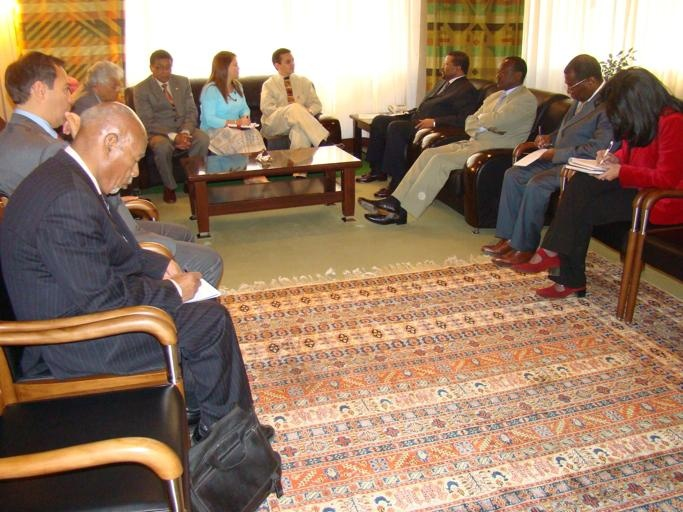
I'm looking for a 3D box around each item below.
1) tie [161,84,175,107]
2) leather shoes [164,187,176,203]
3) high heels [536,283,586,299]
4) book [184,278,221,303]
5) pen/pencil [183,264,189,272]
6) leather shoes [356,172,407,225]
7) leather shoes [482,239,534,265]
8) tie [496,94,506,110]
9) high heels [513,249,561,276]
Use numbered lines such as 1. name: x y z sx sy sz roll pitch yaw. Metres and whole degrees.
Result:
1. tie: -1.726 -1.576 4.807 0.059 0.181 0.144 -18 -10 22
2. leather shoes: -1.606 -0.570 4.528 0.078 0.128 0.193 -8 29 -26
3. high heels: 1.319 0.194 2.993 0.308 0.112 0.104 2 30 7
4. book: -0.510 0.115 1.812 0.093 0.020 0.088 -13 39 -38
5. pen/pencil: -0.793 0.041 2.463 0.031 0.028 0.024 -11 32 -42
6. leather shoes: 0.356 -0.437 4.081 0.372 0.127 0.255 16 12 -18
7. leather shoes: 1.149 -0.048 3.399 0.257 0.078 0.173 -1 15 -11
8. tie: 1.340 -1.290 4.087 0.032 0.098 0.056 24 12 -12
9. high heels: 1.237 0.020 3.067 0.299 0.125 0.097 -1 24 19
